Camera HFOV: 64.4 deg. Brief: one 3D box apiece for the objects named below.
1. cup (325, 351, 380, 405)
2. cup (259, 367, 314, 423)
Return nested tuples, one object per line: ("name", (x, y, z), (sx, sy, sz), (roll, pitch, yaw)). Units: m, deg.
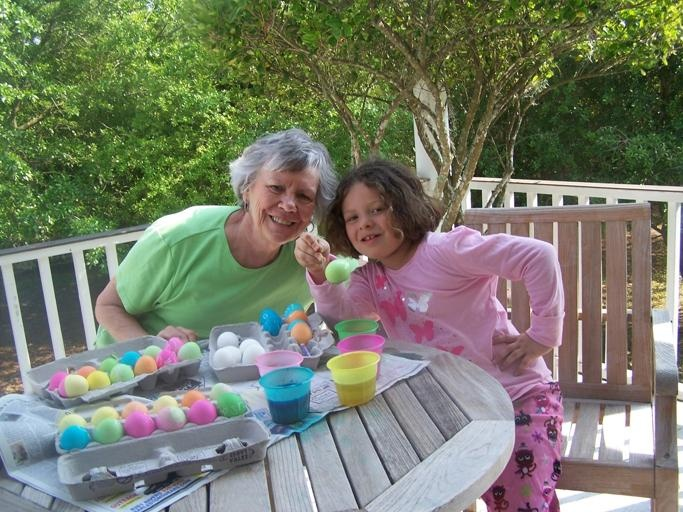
("cup", (0.036, 0.331, 1.474), (0.120, 0.106, 0.133), (-5, 10, -13))
("cup", (-0.143, 0.349, 1.365), (0.125, 0.103, 0.132), (-2, 10, 0))
